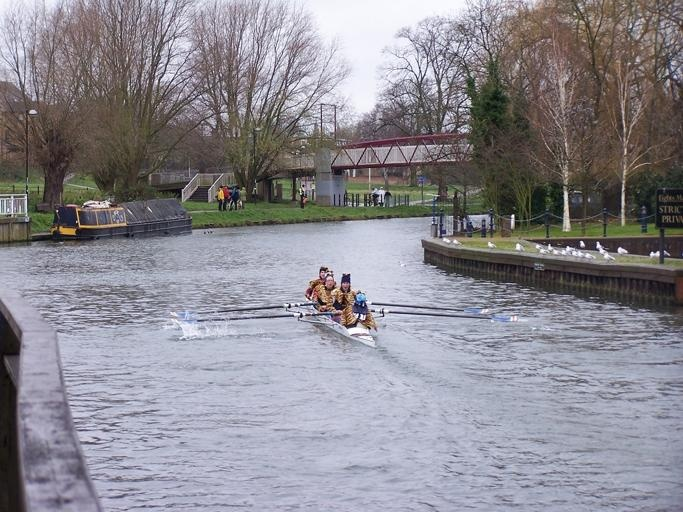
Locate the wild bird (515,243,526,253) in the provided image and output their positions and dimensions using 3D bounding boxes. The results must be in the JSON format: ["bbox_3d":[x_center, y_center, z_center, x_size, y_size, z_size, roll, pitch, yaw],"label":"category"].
[{"bbox_3d":[8.712,-0.394,65.166,0.295,0.413,0.934,-5,6,13],"label":"wild bird"}]

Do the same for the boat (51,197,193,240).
[{"bbox_3d":[-13.521,-2.257,83.725,2.652,2.459,10.703,-1,1,29],"label":"boat"}]

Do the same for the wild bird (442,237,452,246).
[{"bbox_3d":[5.597,-0.756,70.427,0.237,0.331,0.837,14,8,-7],"label":"wild bird"}]
